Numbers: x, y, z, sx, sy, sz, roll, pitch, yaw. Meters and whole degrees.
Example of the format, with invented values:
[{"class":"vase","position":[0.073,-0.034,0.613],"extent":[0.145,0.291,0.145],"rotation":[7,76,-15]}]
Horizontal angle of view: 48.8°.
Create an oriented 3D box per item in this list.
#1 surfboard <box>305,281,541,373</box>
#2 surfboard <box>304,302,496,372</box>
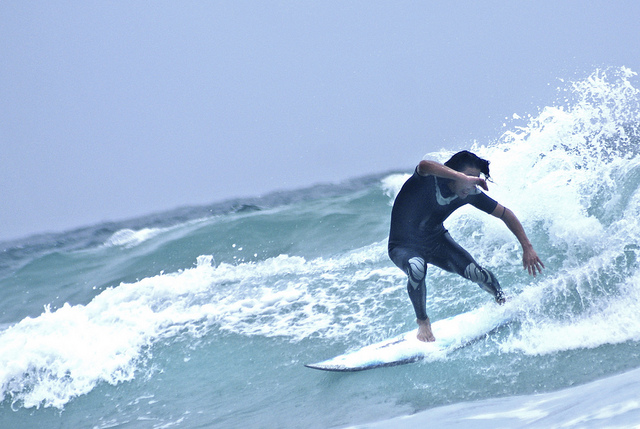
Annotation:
[{"class":"surfboard","position":[1.257,1.334,8.153],"extent":[2.050,0.307,0.144],"rotation":[-23,-56,-2]},{"class":"surfboard","position":[0.976,1.435,8.121],"extent":[1.743,0.261,0.129],"rotation":[-22,-53,21]}]
